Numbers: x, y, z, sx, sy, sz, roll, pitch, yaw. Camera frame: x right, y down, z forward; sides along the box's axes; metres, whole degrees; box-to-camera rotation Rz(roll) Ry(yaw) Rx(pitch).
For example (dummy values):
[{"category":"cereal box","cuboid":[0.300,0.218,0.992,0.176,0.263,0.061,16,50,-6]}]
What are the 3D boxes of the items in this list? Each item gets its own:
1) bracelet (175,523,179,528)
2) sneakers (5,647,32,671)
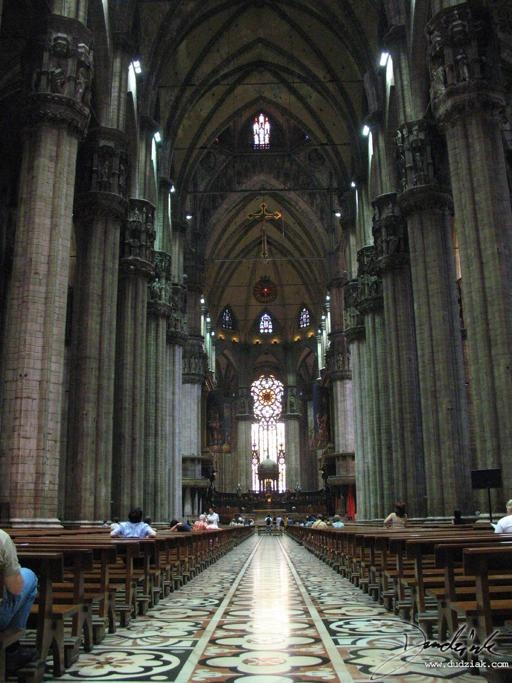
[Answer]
[{"category":"bracelet","cuboid":[-1.659,3.867,14.334,0.031,0.089,0.071,12,-13,-24]},{"category":"sneakers","cuboid":[-1.264,1.649,3.594,0.128,0.124,0.077,-2,3,-32]}]
